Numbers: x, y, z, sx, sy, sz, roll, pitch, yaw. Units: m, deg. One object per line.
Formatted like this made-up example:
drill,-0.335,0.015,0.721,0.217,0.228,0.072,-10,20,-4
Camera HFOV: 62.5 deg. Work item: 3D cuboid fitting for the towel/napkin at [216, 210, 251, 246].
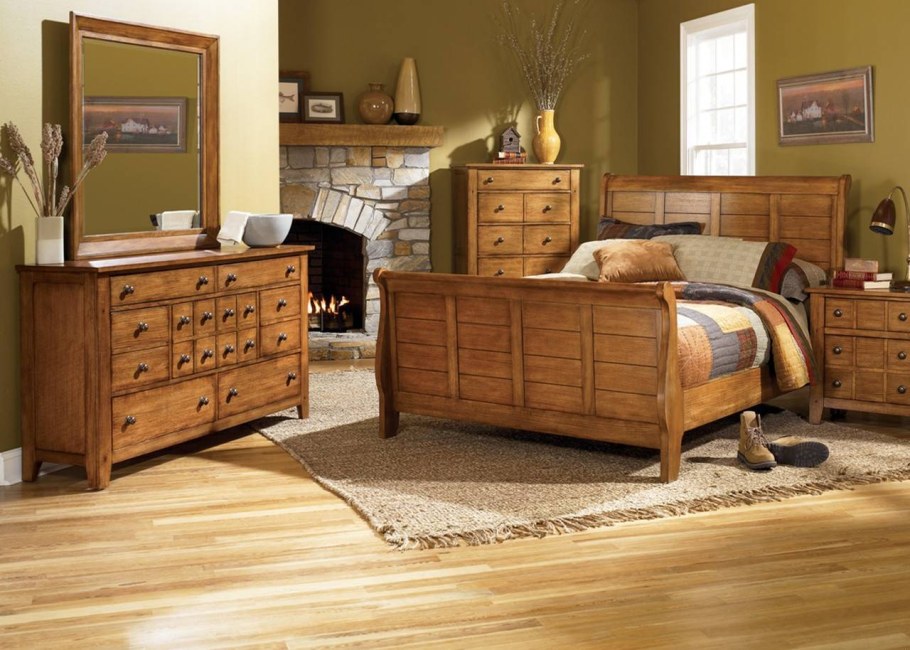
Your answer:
towel/napkin,-1.373,-0.612,4.749,0.222,0.197,0.076,9,-18,18

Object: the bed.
bed,1.644,-0.044,5.055,3.312,1.212,2.609,-4,4,-39

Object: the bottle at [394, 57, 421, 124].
bottle,-0.476,-2.172,6.948,0.238,0.592,0.177,-2,13,-5

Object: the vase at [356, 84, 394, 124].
vase,-0.756,-2.044,6.918,0.325,0.367,0.203,-2,13,-5

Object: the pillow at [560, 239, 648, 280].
pillow,0.990,-0.508,5.759,0.464,0.111,0.450,-5,15,24

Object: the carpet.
carpet,0.620,0.728,4.207,3.737,0.049,2.255,0,9,0

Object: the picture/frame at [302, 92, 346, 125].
picture/frame,-1.223,-1.974,6.813,0.551,0.270,0.046,-1,4,-23

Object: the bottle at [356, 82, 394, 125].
bottle,-0.756,-2.045,6.923,0.325,0.368,0.214,-2,13,-6

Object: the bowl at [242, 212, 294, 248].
bowl,-1.197,-0.615,4.812,0.308,0.117,0.254,-4,8,13

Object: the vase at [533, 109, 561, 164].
vase,0.856,-1.824,7.212,0.265,0.550,0.566,0,12,6
